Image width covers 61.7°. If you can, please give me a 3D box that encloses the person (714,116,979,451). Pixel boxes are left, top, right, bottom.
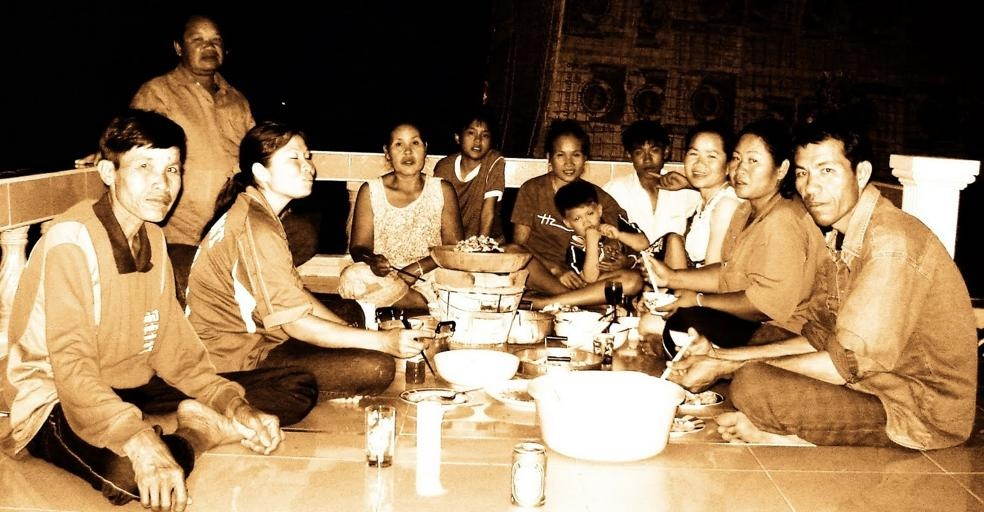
[{"bbox_3d":[2.669,0.259,5.818,1.651,2.211,0.931,5,20,12],"label":"person"}]

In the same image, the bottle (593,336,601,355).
[{"bbox_3d":[0.858,0.727,6.661,0.092,0.107,0.031,-1,-5,33],"label":"bottle"}]

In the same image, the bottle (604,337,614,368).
[{"bbox_3d":[0.930,0.777,6.609,0.075,0.226,0.187,4,18,7],"label":"bottle"}]

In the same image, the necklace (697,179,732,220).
[{"bbox_3d":[2.074,-0.491,7.555,0.340,0.215,0.318,-16,-27,12],"label":"necklace"}]

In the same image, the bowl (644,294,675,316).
[{"bbox_3d":[1.457,0.430,7.130,0.230,0.118,0.202,-1,0,3],"label":"bowl"}]

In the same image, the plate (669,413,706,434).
[{"bbox_3d":[1.428,1.236,5.983,0.221,0.055,0.194,0,0,-40],"label":"plate"}]

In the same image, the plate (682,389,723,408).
[{"bbox_3d":[1.601,1.104,6.247,0.267,0.052,0.218,-1,6,30],"label":"plate"}]

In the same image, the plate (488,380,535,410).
[{"bbox_3d":[0.146,1.058,6.225,0.341,0.149,0.444,1,16,-2],"label":"plate"}]

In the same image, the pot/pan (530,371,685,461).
[{"bbox_3d":[0.792,1.213,5.856,1.122,0.315,0.989,-1,-3,19],"label":"pot/pan"}]

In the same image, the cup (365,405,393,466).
[{"bbox_3d":[-0.740,1.215,5.482,0.195,0.432,0.103,-2,20,-8],"label":"cup"}]
